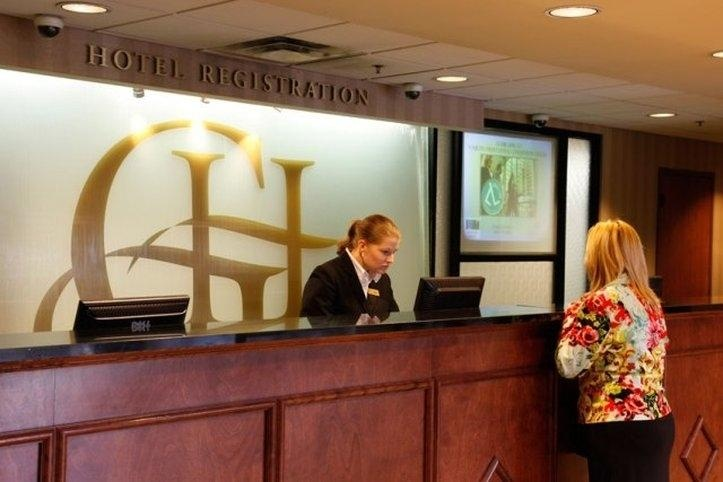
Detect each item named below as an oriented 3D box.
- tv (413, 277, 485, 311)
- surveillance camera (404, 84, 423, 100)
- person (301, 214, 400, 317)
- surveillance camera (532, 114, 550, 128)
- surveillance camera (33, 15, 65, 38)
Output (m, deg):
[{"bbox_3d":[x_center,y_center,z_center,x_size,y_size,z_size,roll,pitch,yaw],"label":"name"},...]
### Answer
[{"bbox_3d":[0.603,0.357,4.247,0.659,0.232,0.183,-2,4,-35],"label":"tv"},{"bbox_3d":[0.559,-1.633,6.527,0.153,0.114,0.153,-3,-15,5],"label":"surveillance camera"},{"bbox_3d":[-0.059,0.178,4.684,0.881,0.788,0.497,-1,4,-21],"label":"person"},{"bbox_3d":[2.413,-1.649,8.164,0.188,0.135,0.188,0,-3,0],"label":"surveillance camera"},{"bbox_3d":[-2.377,-1.663,4.606,0.173,0.121,0.171,-2,-2,-6],"label":"surveillance camera"}]
